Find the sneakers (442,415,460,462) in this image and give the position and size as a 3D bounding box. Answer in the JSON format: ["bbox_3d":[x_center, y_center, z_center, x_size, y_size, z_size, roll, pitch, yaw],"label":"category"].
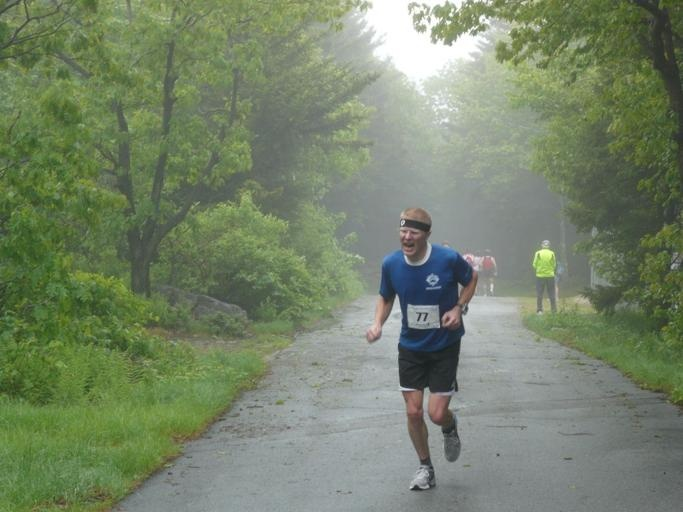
[{"bbox_3d":[1.308,2.139,8.454,0.190,0.603,0.229,-2,2,23],"label":"sneakers"}]

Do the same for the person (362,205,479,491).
[{"bbox_3d":[0.950,1.005,8.173,1.121,3.103,0.695,0,5,10],"label":"person"}]

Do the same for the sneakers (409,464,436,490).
[{"bbox_3d":[0.924,2.446,8.105,0.372,0.236,0.274,-1,4,-13],"label":"sneakers"}]
